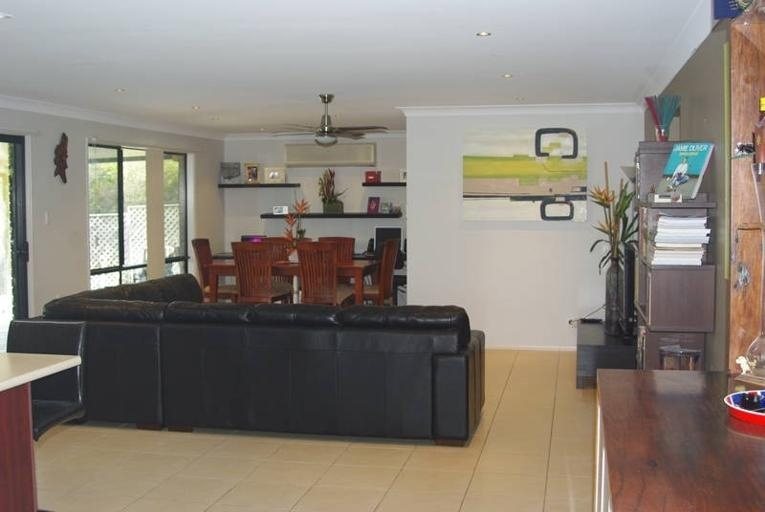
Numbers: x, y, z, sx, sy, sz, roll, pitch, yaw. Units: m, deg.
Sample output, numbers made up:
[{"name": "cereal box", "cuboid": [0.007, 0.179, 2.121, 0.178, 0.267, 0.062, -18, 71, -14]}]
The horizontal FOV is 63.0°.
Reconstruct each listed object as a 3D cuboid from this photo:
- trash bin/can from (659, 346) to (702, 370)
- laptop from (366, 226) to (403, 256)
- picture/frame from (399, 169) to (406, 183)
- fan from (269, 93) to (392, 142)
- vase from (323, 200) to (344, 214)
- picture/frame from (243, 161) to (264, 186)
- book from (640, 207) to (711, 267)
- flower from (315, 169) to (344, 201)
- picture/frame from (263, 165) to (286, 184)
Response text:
[{"name": "trash bin/can", "cuboid": [2.069, 0.699, 4.313, 0.252, 0.234, 0.179, -2, -3, 25]}, {"name": "laptop", "cuboid": [0.040, -0.319, 9.624, 0.461, 0.475, 0.115, 0, -12, 10]}, {"name": "picture/frame", "cuboid": [0.316, -1.232, 9.766, 0.081, 0.218, 0.244, -1, 8, -10]}, {"name": "fan", "cuboid": [-0.469, -1.422, 7.007, 0.827, 0.343, 0.878, 0, -1, -25]}, {"name": "vase", "cuboid": [-0.770, -0.766, 9.921, 0.302, 0.197, 0.210, 0, -1, -1]}, {"name": "picture/frame", "cuboid": [-2.108, -1.342, 10.284, 0.433, 0.552, 0.054, 1, 4, 13]}, {"name": "book", "cuboid": [2.007, -0.132, 4.289, 0.368, 0.211, 0.480, 1, 3, 19]}, {"name": "flower", "cuboid": [-0.851, -1.131, 10.057, 0.409, 0.546, 0.353, 1, 9, 3]}, {"name": "picture/frame", "cuboid": [-1.757, -1.315, 10.223, 0.350, 0.288, 0.048, 1, -3, 6]}]
